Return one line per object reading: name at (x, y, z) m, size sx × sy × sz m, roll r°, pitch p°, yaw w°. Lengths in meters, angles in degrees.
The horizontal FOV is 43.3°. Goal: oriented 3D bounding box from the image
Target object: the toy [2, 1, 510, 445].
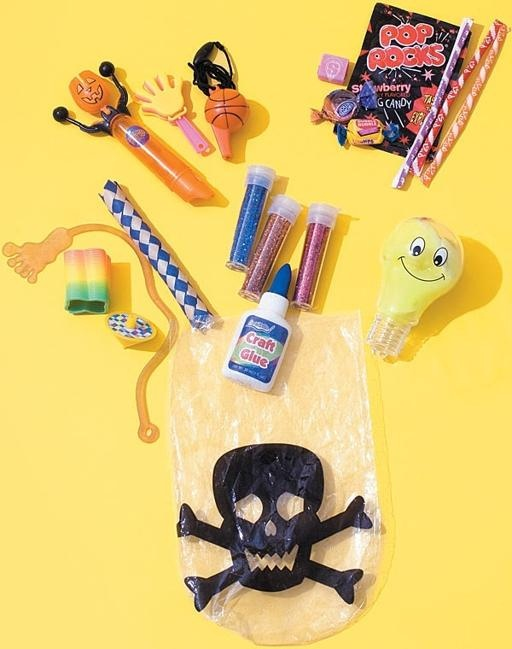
toy at (0.016, -0.169, 1.390) m, size 0.941 × 0.745 × 0.758 m, roll 3°, pitch 59°, yaw 5°
